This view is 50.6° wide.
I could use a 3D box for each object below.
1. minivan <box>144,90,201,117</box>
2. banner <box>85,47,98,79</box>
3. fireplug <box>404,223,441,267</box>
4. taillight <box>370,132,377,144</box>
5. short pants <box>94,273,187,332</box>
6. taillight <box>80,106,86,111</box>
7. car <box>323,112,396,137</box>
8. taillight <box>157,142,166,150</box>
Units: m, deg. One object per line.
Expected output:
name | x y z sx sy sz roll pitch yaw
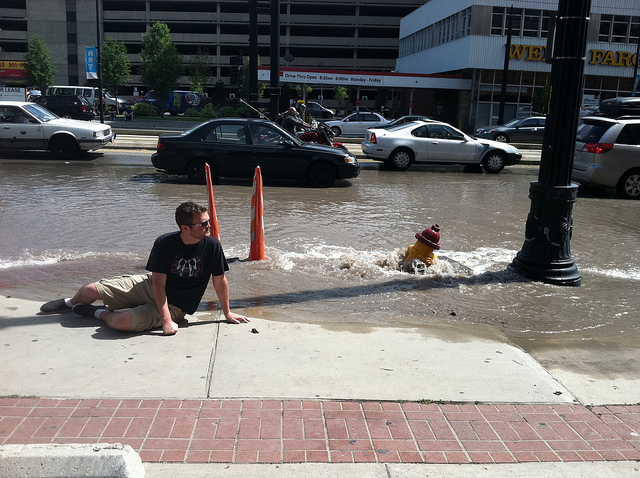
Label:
minivan | -12.488 -11.848 60.126 4.139 1.984 2.550 -3 14 -3
banner | -11.468 -8.938 34.434 0.171 1.592 0.786 12 17 38
fireplug | 1.342 0.037 8.963 0.520 0.521 0.474 4 13 -2
taillight | 1.567 -2.934 19.708 0.083 0.274 0.168 -7 14 -34
short pants | -1.757 0.606 6.713 0.675 0.200 0.526 -19 65 -19
taillight | -13.351 -7.438 38.618 0.197 0.345 0.193 -11 32 -18
car | 1.978 -5.973 35.039 4.207 1.414 1.906 1 8 -1
taillight | -3.563 -2.118 15.318 0.107 0.155 0.320 -7 17 -34
